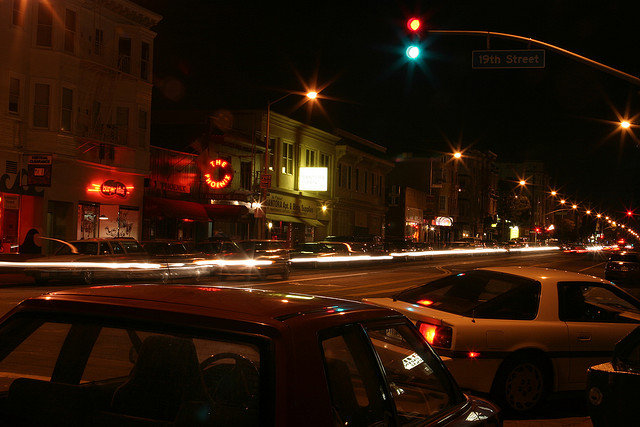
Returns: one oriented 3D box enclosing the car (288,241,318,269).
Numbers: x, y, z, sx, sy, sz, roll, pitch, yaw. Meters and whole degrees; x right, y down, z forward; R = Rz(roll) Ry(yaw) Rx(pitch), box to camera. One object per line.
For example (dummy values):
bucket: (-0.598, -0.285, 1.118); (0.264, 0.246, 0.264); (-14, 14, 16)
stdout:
car: (-0.966, 2.639, 34.357); (1.542, 1.578, 3.096); (1, -5, -1)

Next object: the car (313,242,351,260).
car: (0.636, 2.339, 34.533); (1.204, 1.062, 2.964); (-2, -6, 38)

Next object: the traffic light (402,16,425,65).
traffic light: (2.579, -4.826, 15.280); (0.479, 1.262, 0.512); (0, -4, 19)

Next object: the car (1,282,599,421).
car: (-0.211, 0.910, 3.828); (2.755, 0.674, 1.532); (4, -3, -39)

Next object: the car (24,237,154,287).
car: (-8.779, 1.897, 21.949); (1.875, 1.306, 3.964); (-4, -8, 32)

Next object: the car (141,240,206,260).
car: (-6.567, 1.811, 24.826); (2.553, 0.881, 1.039); (-1, 1, -35)

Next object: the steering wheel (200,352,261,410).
steering wheel: (-0.531, 1.050, 3.466); (0.211, 0.302, 0.424); (4, -5, -30)

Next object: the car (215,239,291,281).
car: (-2.587, 2.154, 26.039); (1.664, 1.338, 3.112); (-3, -5, 26)

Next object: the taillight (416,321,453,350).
taillight: (1.493, 1.591, 7.297); (0.396, 0.101, 0.250); (6, 7, 36)
